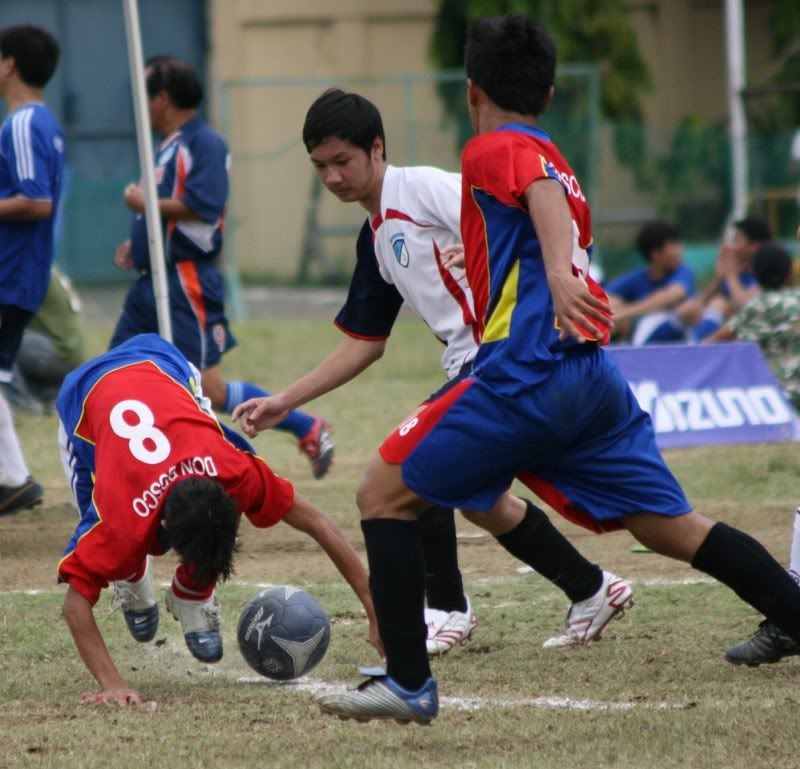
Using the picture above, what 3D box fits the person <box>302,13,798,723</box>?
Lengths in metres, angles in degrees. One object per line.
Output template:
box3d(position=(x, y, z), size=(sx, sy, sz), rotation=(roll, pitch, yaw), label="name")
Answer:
box3d(position=(0.398, -0.051, 5.026), size=(1.309, 2.023, 0.464), rotation=(-2, 10, -5), label="person")

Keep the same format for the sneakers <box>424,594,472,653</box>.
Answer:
box3d(position=(0.165, 0.814, 5.701), size=(0.083, 0.088, 0.217), rotation=(-8, 6, 30), label="sneakers")

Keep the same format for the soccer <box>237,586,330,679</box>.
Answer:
box3d(position=(-0.342, 0.774, 5.590), size=(0.265, 0.324, 0.287), rotation=(16, 37, 15), label="soccer")

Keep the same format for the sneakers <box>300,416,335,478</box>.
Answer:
box3d(position=(-0.381, 0.291, 7.954), size=(0.139, 0.300, 0.109), rotation=(-7, 16, -2), label="sneakers")

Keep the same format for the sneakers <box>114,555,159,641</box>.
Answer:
box3d(position=(-0.868, 0.742, 5.804), size=(0.113, 0.343, 0.144), rotation=(-19, 38, -13), label="sneakers")

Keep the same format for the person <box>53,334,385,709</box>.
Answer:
box3d(position=(-0.693, 0.493, 5.491), size=(0.809, 0.730, 1.280), rotation=(-20, 48, -25), label="person")

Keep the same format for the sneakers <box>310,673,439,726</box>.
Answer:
box3d(position=(-0.068, 0.912, 5.024), size=(0.369, 0.159, 0.136), rotation=(6, -8, -3), label="sneakers")
